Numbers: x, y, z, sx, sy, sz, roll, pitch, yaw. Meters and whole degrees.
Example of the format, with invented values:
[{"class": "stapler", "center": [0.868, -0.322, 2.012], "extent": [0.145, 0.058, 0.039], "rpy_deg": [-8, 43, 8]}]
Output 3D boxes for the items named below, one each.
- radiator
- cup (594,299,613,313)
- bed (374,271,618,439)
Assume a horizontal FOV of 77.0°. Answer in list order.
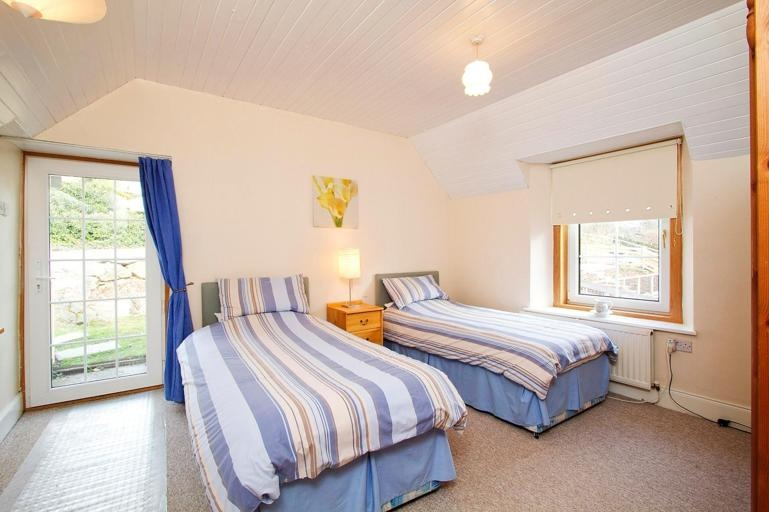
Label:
[{"class": "radiator", "center": [2.007, 0.931, 4.678], "extent": [0.991, 0.559, 0.102], "rpy_deg": [7, 48, 35]}, {"class": "cup", "center": [2.378, 0.537, 5.245], "extent": [0.164, 0.130, 0.128], "rpy_deg": [5, -6, -13]}, {"class": "bed", "center": [1.054, 0.934, 5.077], "extent": [1.146, 0.953, 1.865], "rpy_deg": [-3, 2, -39]}]
